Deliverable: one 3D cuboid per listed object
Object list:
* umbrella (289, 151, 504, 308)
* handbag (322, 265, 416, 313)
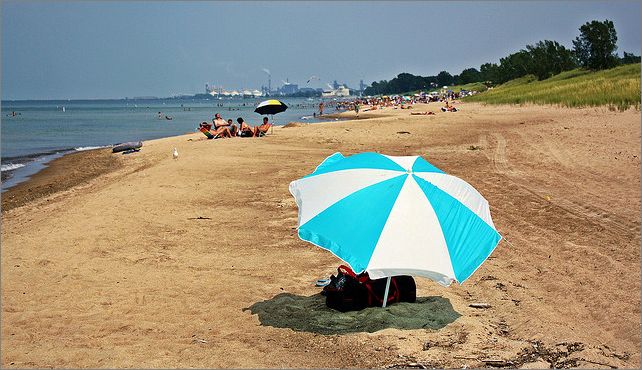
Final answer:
[{"bbox_3d":[1.535,1.438,14.190,4.142,3.348,4.002,2,49,-29],"label":"umbrella"},{"bbox_3d":[1.394,3.001,14.710,2.008,0.830,1.384,0,-1,-10],"label":"handbag"}]
